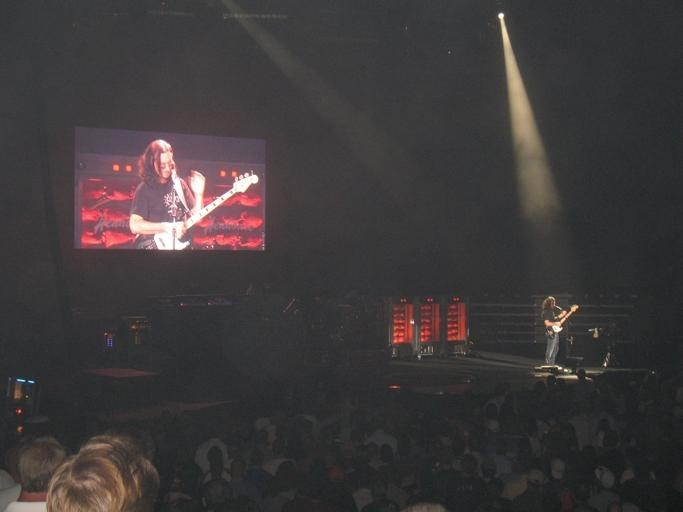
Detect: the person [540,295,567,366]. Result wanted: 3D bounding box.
[{"bbox_3d":[2.249,0.795,8.107,0.238,0.713,0.342,-5,-10,41],"label":"person"}]
